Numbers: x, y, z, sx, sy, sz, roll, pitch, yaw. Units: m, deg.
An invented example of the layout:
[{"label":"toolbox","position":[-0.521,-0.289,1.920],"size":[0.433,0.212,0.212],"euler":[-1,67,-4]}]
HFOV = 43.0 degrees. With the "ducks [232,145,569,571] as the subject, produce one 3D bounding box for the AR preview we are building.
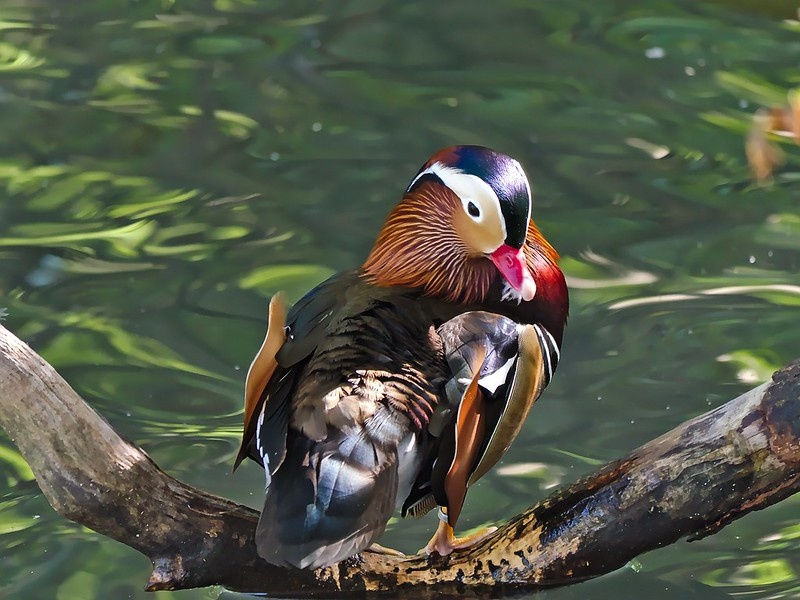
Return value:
[{"label":"\"ducks","position":[-0.002,0.125,3.183],"size":[0.917,1.157,1.170],"euler":[16,26,6]}]
